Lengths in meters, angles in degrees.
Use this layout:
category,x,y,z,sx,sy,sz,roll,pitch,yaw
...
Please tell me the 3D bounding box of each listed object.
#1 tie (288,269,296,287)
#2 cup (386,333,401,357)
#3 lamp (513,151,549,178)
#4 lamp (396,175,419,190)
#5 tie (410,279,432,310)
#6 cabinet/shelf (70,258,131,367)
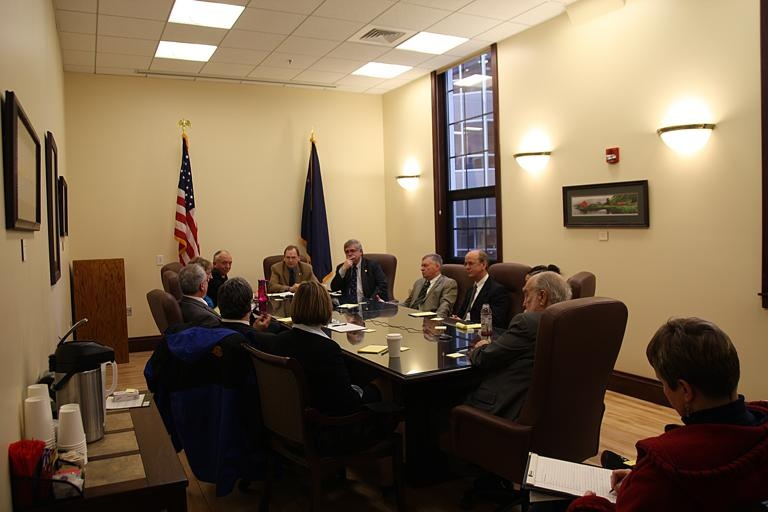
category,x,y,z,sx,sy,sz,roll,pitch,yaw
tie,-1.152,0.278,6.445,0.106,0.186,0.046,-2,-5,5
cup,0.074,0.604,3.533,0.118,0.129,0.123,-2,-8,0
lamp,1.638,-1.019,5.810,0.200,0.246,0.466,-4,5,-37
lamp,0.350,-1.074,7.708,0.182,0.224,0.472,-3,5,-24
tie,0.411,0.421,5.478,0.079,0.291,0.201,18,-12,-14
cabinet/shelf,-3.432,0.693,6.238,0.540,1.262,0.177,-2,5,-12
